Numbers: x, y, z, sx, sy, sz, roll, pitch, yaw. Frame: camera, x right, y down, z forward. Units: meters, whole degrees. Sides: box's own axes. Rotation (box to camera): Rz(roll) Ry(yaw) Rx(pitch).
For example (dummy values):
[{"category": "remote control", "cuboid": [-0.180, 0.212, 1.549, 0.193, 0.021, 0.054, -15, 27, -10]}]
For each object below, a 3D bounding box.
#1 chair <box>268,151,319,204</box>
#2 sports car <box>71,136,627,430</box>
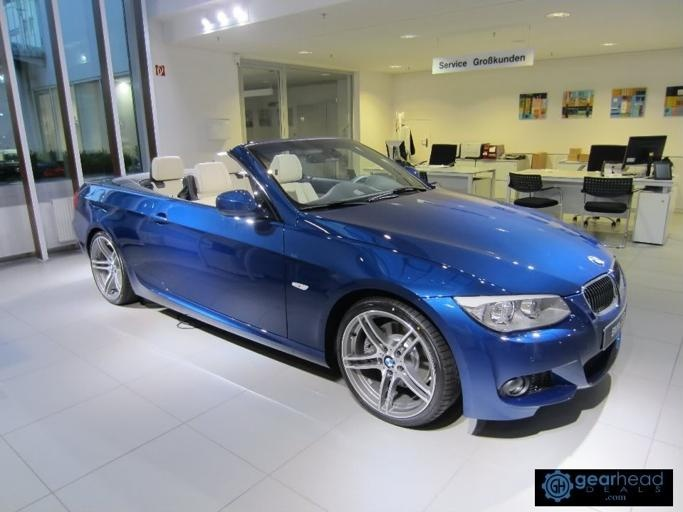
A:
[{"category": "chair", "cuboid": [-0.298, -0.504, 2.806, 0.278, 0.391, 0.338, -13, 16, -35]}, {"category": "sports car", "cuboid": [-0.237, 0.025, 3.302, 4.265, 1.378, 1.848, 11, 19, 34]}]
